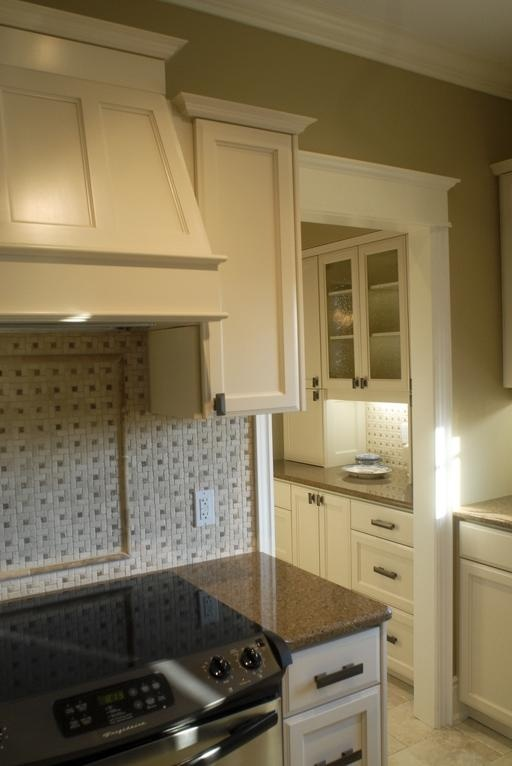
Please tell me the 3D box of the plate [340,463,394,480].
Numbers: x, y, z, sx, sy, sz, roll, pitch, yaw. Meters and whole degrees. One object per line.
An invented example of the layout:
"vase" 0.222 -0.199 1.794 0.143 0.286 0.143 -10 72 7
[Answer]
"plate" 0.648 0.519 3.526 0.276 0.065 0.282 2 2 10

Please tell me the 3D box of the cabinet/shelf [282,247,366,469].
"cabinet/shelf" 0.547 -0.192 3.835 0.373 1.359 0.387 7 21 33

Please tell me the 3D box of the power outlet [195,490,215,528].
"power outlet" -0.158 0.392 1.881 0.081 0.121 0.008 0 2 -39
